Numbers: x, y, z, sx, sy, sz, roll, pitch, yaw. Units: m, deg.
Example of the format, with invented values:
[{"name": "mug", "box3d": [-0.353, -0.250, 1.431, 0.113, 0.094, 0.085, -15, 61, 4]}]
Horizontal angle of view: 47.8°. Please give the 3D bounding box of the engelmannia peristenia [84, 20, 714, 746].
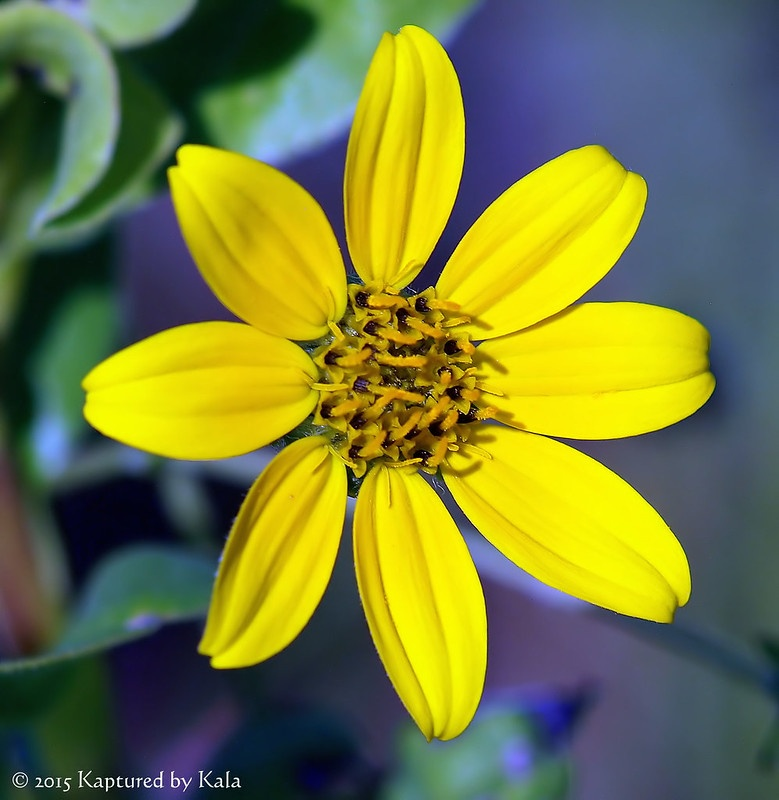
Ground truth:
[{"name": "engelmannia peristenia", "box3d": [0.035, -0.048, 1.124, 0.771, 0.858, 0.202, 6, 67, 22]}]
